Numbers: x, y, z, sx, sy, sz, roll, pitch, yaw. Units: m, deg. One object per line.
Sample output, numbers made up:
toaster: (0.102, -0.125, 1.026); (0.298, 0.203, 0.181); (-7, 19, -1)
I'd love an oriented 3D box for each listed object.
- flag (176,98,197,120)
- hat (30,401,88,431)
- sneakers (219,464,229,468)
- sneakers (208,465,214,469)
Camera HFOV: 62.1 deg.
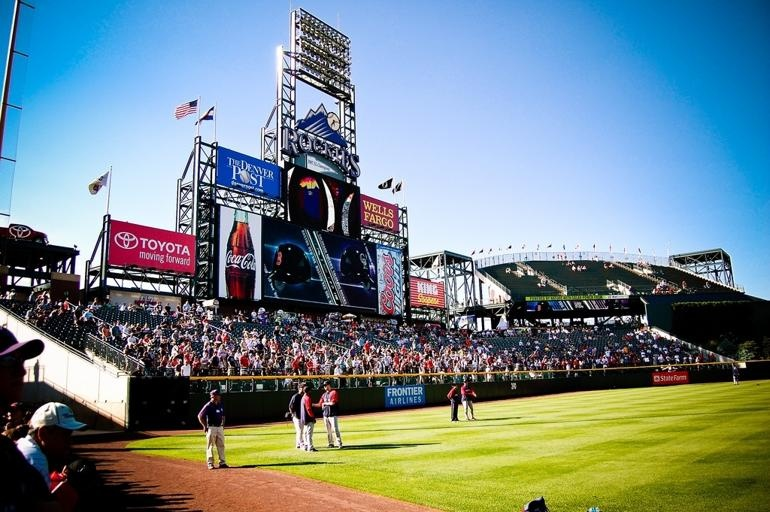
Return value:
flag: (-12.869, -9.663, 41.592); (1.239, 1.731, 2.396); (2, -13, -17)
hat: (-6.283, 3.085, 12.377); (0.854, 0.481, 0.599); (4, -11, -9)
sneakers: (-4.723, 6.143, 18.839); (0.295, 0.099, 0.198); (7, -16, -36)
sneakers: (-5.046, 6.114, 18.659); (0.172, 0.144, 0.278); (1, -13, -15)
